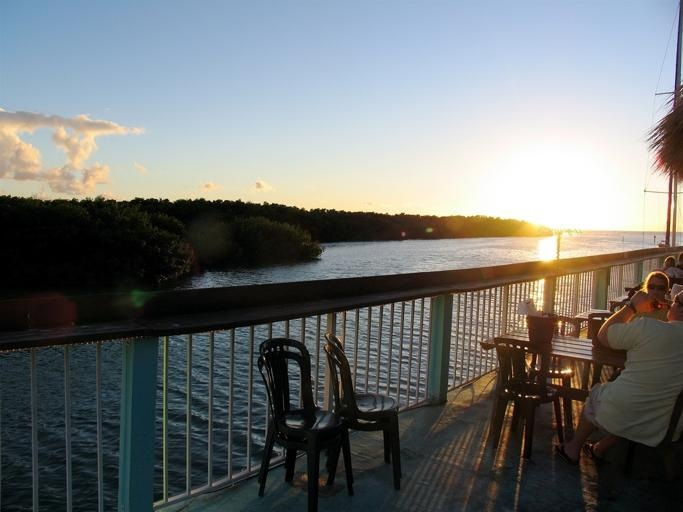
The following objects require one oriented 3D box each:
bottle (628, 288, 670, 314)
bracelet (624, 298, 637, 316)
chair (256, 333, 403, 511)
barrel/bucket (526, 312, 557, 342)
[{"bbox_3d":[2.892,0.452,4.916,0.380,0.149,0.276,11,-12,-41],"label":"bottle"},{"bbox_3d":[2.663,0.466,4.814,0.111,0.129,0.045,29,-50,-34],"label":"bracelet"},{"bbox_3d":[-0.116,1.386,4.406,1.194,1.403,0.728,-3,5,-14],"label":"chair"},{"bbox_3d":[1.970,0.713,5.158,0.281,0.232,0.260,-1,5,0],"label":"barrel/bucket"}]
